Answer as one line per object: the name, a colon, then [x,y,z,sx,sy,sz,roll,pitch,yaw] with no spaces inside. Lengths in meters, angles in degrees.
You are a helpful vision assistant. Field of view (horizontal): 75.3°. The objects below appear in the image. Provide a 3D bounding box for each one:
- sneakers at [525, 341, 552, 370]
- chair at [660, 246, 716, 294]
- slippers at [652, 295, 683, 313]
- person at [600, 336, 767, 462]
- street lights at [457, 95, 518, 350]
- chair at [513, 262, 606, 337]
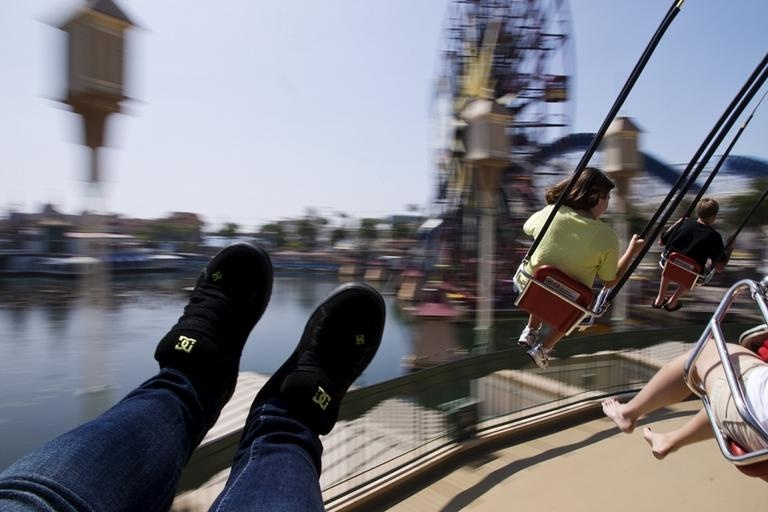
sneakers: [1.060,0.690,3.407,0.112,0.090,0.243,-18,-18,-1]
chair: [2.711,0.127,4.346,0.523,0.266,0.361,-7,28,-34]
slippers: [2.900,0.508,5.008,0.360,0.115,0.118,0,6,1]
person: [1.681,0.860,2.887,1.129,0.357,0.607,-21,34,30]
street lights: [0.820,-0.263,3.953,0.341,1.910,0.753,0,15,15]
chair: [0.994,0.313,3.213,0.504,0.359,0.639,31,-7,5]
